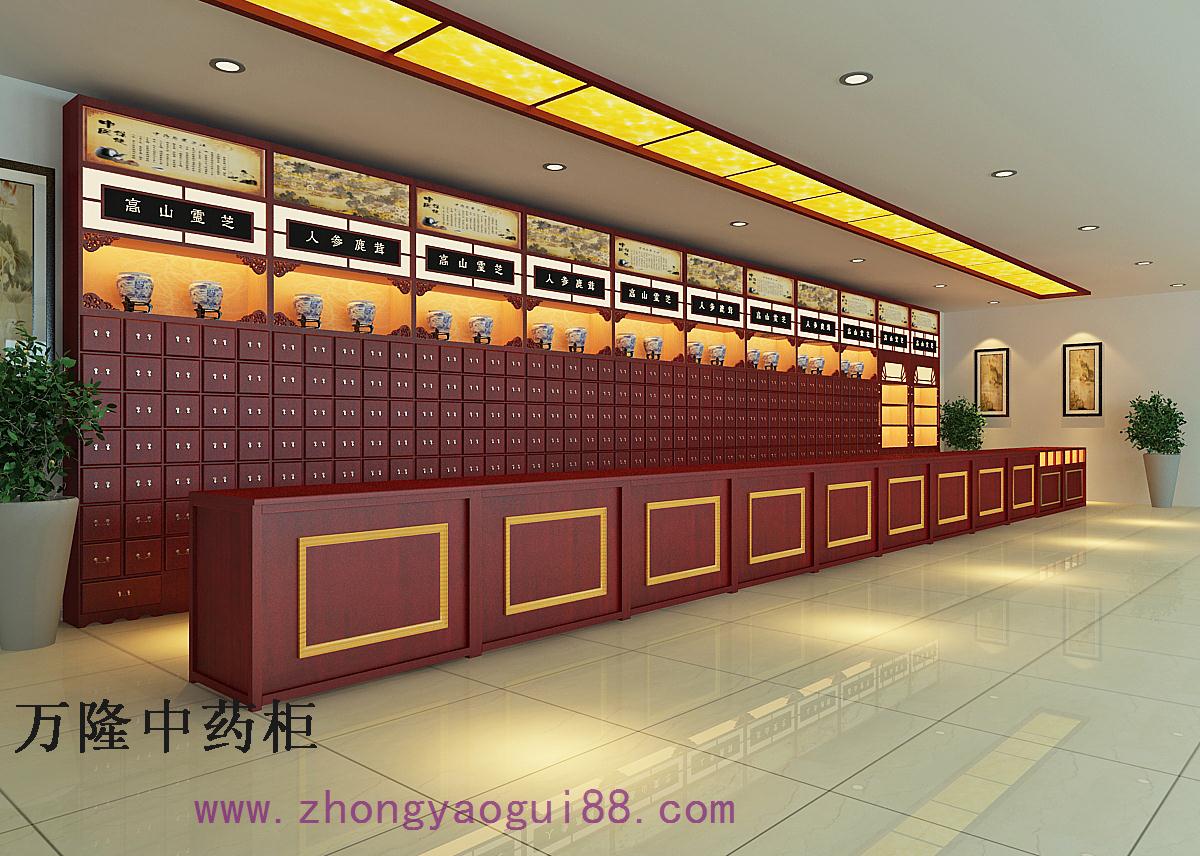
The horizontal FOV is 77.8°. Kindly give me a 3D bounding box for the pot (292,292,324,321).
[{"bbox_3d":[-2.461,-1.020,6.279,0.281,0.176,0.246,1,0,-24],"label":"pot"}]

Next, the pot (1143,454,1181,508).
[{"bbox_3d":[9.118,0.822,12.142,0.441,0.863,0.272,2,5,29],"label":"pot"}]

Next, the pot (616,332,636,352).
[{"bbox_3d":[0.305,-0.991,8.677,0.264,0.218,0.246,1,-3,0],"label":"pot"}]

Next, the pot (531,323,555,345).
[{"bbox_3d":[-0.603,-0.996,7.888,0.110,0.241,0.297,4,6,44],"label":"pot"}]

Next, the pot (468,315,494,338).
[{"bbox_3d":[-1.184,-1.003,7.390,0.277,0.204,0.209,0,2,27],"label":"pot"}]

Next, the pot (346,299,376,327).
[{"bbox_3d":[-2.120,-1.019,6.622,0.293,0.189,0.246,0,1,-16],"label":"pot"}]

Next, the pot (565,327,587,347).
[{"bbox_3d":[-0.262,-0.992,8.144,0.276,0.220,0.215,-3,8,-6],"label":"pot"}]

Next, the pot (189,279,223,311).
[{"bbox_3d":[-3.106,-1.063,5.974,0.300,0.172,0.248,0,2,-11],"label":"pot"}]

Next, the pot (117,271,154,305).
[{"bbox_3d":[-3.463,-1.043,5.558,0.263,0.234,0.298,7,10,31],"label":"pot"}]

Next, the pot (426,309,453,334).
[{"bbox_3d":[-1.530,-1.006,7.049,0.282,0.220,0.241,-1,9,-13],"label":"pot"}]
